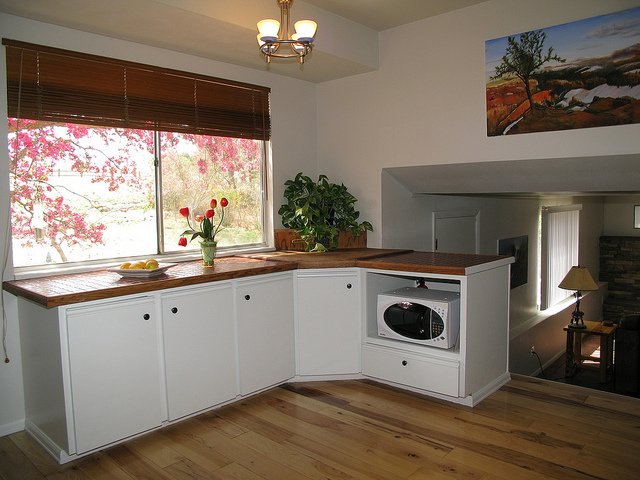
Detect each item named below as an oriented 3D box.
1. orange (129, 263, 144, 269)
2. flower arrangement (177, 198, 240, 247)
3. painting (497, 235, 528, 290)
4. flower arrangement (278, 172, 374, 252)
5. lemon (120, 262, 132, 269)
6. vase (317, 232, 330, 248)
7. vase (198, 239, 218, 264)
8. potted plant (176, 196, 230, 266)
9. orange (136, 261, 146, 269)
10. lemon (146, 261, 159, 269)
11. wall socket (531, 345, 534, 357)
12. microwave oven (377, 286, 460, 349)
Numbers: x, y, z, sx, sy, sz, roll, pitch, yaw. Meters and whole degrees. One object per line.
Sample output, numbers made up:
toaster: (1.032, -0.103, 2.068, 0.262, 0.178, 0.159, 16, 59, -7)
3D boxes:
orange: (-1.368, 0.189, 3.403, 0.051, 0.028, 0.053, 2, 6, -1)
flower arrangement: (-0.924, -0.133, 3.704, 0.387, 0.353, 0.396, 2, 11, 24)
painting: (2.943, 0.308, 6.933, 0.375, 0.844, 1.245, 6, 15, 29)
flower arrangement: (-0.039, -0.291, 4.602, 0.589, 0.737, 0.816, -14, 18, -43)
lemon: (-1.461, 0.185, 3.438, 0.058, 0.045, 0.074, 1, 8, 12)
vase: (0.034, -0.007, 4.483, 0.113, 0.202, 0.282, -1, 13, 1)
vase: (-0.900, 0.087, 3.781, 0.169, 0.194, 0.173, 1, 2, 10)
potted plant: (-0.963, -0.058, 3.767, 0.477, 0.550, 0.409, -7, -3, 14)
orange: (-1.338, 0.184, 3.447, 0.049, 0.039, 0.064, 0, 3, -7)
lemon: (-1.249, 0.179, 3.398, 0.089, 0.036, 0.080, -2, 13, 0)
wall socket: (3.144, 1.637, 6.773, 0.028, 0.114, 0.117, -3, -3, 31)
microwave oven: (0.765, 0.615, 3.603, 0.559, 0.388, 0.433, 1, 4, 42)
